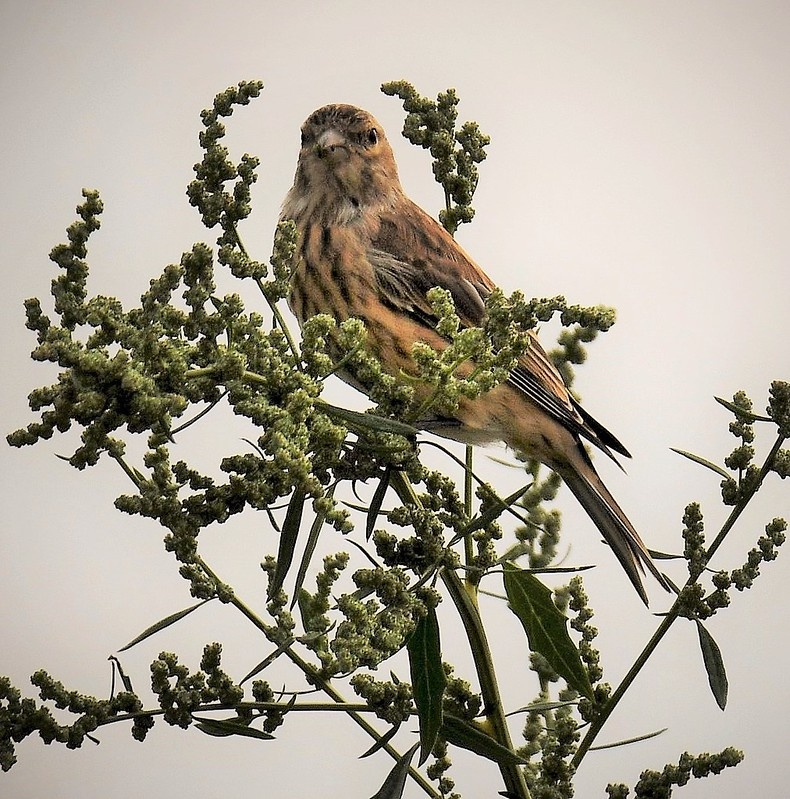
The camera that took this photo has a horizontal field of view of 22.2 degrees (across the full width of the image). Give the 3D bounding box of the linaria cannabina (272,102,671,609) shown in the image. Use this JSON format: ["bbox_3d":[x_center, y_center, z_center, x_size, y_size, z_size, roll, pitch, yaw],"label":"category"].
[{"bbox_3d":[0.116,-0.073,2.732,0.656,0.437,0.216,23,-15,-7],"label":"linaria cannabina"}]
